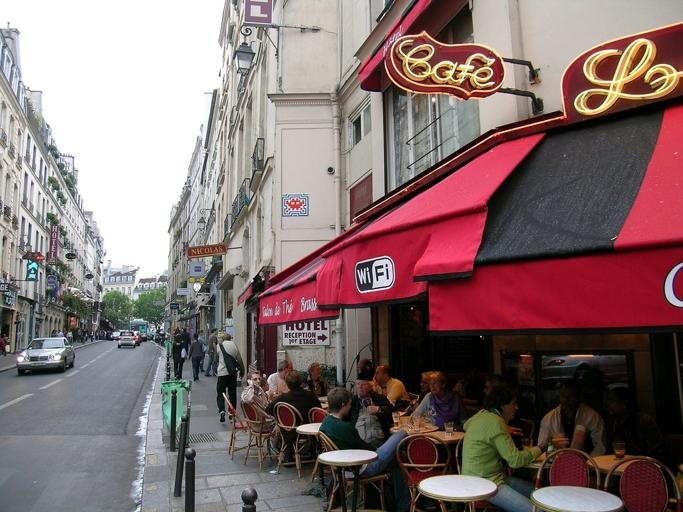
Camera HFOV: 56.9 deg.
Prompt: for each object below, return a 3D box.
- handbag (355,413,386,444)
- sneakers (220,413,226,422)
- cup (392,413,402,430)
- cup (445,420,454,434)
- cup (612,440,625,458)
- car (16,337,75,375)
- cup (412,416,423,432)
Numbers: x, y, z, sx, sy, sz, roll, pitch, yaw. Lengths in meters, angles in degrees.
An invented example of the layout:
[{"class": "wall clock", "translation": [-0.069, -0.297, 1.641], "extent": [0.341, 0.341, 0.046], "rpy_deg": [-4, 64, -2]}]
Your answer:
[{"class": "handbag", "translation": [0.429, 2.273, 8.533], "extent": [0.355, 0.293, 0.557], "rpy_deg": [2, -52, 9]}, {"class": "sneakers", "translation": [-2.554, 3.455, 13.517], "extent": [0.075, 0.206, 0.073], "rpy_deg": [7, -12, -17]}, {"class": "cup", "translation": [0.823, 2.427, 9.281], "extent": [0.143, 0.257, 0.141], "rpy_deg": [-1, -4, 0]}, {"class": "cup", "translation": [1.402, 2.210, 8.140], "extent": [0.140, 0.140, 0.182], "rpy_deg": [-4, -11, 22]}, {"class": "cup", "translation": [3.128, 2.169, 7.063], "extent": [0.098, 0.178, 0.095], "rpy_deg": [2, -10, 0]}, {"class": "car", "translation": [-11.519, 3.834, 24.819], "extent": [1.098, 0.971, 2.776], "rpy_deg": [1, -13, -18]}, {"class": "cup", "translation": [1.057, 2.309, 8.658], "extent": [0.119, 0.141, 0.113], "rpy_deg": [2, -10, 0]}]
